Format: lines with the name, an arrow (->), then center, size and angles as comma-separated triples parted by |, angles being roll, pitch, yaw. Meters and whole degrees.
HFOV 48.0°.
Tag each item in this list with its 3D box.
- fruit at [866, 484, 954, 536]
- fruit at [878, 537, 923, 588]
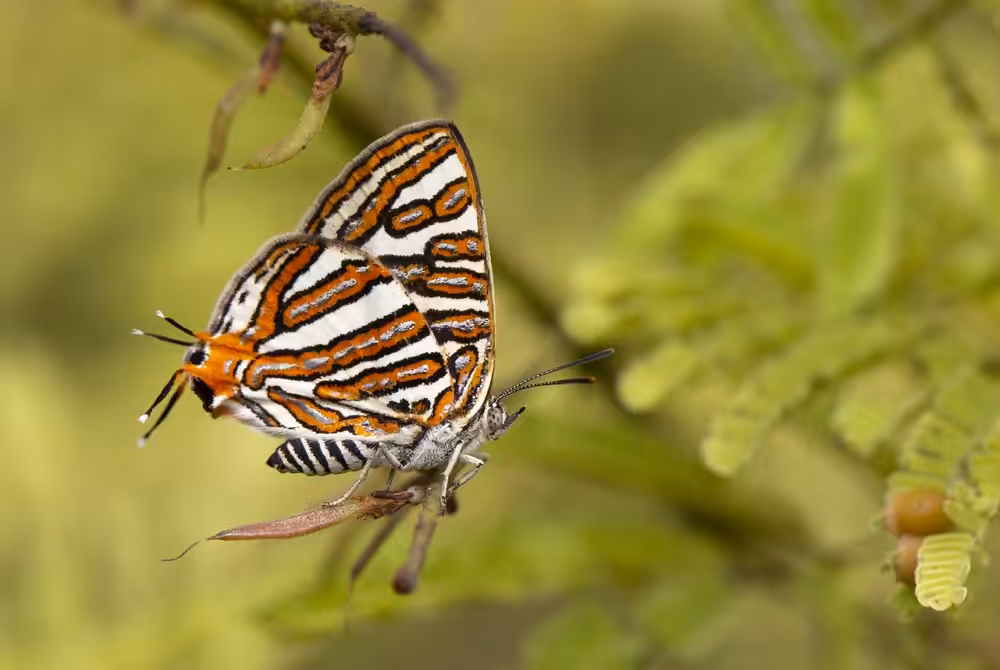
fruit -> 0.670, 0.285, 1.812 | 0.140, 0.080, 0.078 | -12, 90, 2
fruit -> 0.634, 0.357, 1.793 | 0.043, 0.055, 0.072 | 25, 40, 0
